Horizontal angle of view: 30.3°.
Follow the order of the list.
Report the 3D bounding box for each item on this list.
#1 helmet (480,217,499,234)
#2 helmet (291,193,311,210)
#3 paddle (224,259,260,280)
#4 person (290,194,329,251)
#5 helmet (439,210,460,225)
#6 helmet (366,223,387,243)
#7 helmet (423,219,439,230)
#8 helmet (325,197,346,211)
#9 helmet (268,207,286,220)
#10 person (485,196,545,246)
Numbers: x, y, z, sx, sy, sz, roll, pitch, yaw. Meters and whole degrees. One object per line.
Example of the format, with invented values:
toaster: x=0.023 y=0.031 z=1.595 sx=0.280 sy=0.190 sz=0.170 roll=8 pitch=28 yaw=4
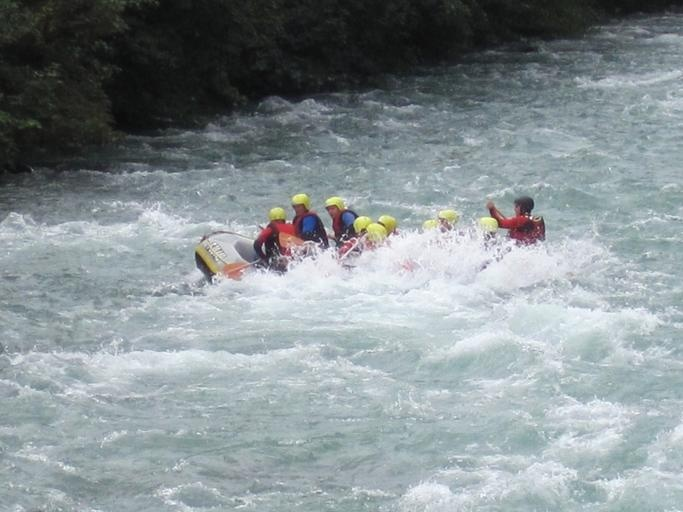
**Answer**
helmet: x=3.009 y=-0.618 z=25.614 sx=0.366 sy=0.315 sz=0.255 roll=-6 pitch=6 yaw=-3
helmet: x=-0.816 y=-1.149 z=26.659 sx=0.437 sy=0.281 sz=0.326 roll=-21 pitch=22 yaw=-23
paddle: x=-2.054 y=0.292 z=25.481 sx=0.747 sy=0.330 sz=0.218 roll=-9 pitch=6 yaw=-40
person: x=-0.700 y=-0.669 z=26.671 sx=0.704 sy=0.708 sz=1.269 roll=-6 pitch=46 yaw=-10
helmet: x=2.250 y=-0.821 z=26.108 sx=0.424 sy=0.257 sz=0.285 roll=2 pitch=-14 yaw=2
helmet: x=0.704 y=-0.463 z=25.646 sx=0.420 sy=0.391 sz=0.297 roll=-6 pitch=6 yaw=1
helmet: x=1.869 y=-0.605 z=25.931 sx=0.258 sy=0.081 sz=0.239 roll=-24 pitch=38 yaw=-22
helmet: x=-0.102 y=-1.088 z=26.698 sx=0.429 sy=0.267 sz=0.328 roll=-20 pitch=24 yaw=-27
helmet: x=-1.400 y=-0.872 z=26.615 sx=0.351 sy=0.227 sz=0.262 roll=-18 pitch=-5 yaw=26
person: x=3.602 y=-0.716 z=25.663 sx=1.031 sy=0.960 sz=0.411 roll=-5 pitch=6 yaw=5
